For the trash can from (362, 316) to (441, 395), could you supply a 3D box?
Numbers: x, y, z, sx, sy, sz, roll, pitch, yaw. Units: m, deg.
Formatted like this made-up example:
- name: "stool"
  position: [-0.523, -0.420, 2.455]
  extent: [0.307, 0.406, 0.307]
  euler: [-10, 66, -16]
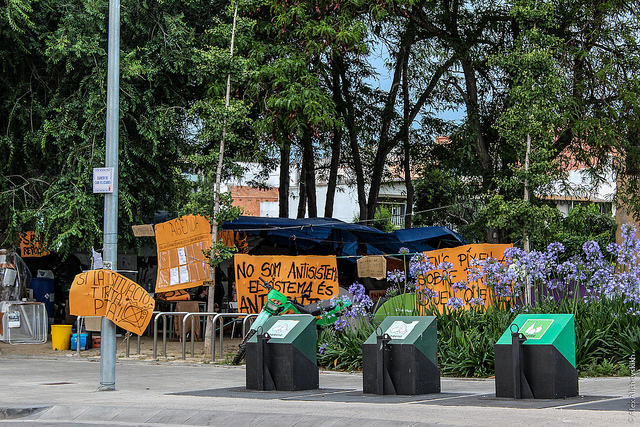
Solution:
- name: "trash can"
  position: [1.805, 3.180, 21.443]
  extent: [1.373, 1.917, 1.426]
  euler: [-3, -12, 29]

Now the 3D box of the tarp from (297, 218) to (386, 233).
- name: "tarp"
  position: [0.598, 0.352, 32.691]
  extent: [2.523, 0.515, 1.826]
  euler: [1, -6, -11]

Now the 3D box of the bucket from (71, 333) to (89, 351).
- name: "bucket"
  position: [-7.629, 4.077, 30.179]
  extent: [0.519, 0.558, 0.516]
  euler: [2, 4, 0]

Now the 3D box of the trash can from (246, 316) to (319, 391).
- name: "trash can"
  position: [-0.875, 3.231, 22.008]
  extent: [1.301, 1.642, 1.070]
  euler: [-3, -5, 36]

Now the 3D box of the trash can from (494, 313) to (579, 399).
- name: "trash can"
  position: [4.657, 3.106, 20.604]
  extent: [1.373, 1.898, 1.386]
  euler: [-3, -5, 32]

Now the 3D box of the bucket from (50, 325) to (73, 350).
- name: "bucket"
  position: [-8.221, 3.945, 30.324]
  extent: [0.661, 0.784, 0.704]
  euler: [0, -3, 0]
